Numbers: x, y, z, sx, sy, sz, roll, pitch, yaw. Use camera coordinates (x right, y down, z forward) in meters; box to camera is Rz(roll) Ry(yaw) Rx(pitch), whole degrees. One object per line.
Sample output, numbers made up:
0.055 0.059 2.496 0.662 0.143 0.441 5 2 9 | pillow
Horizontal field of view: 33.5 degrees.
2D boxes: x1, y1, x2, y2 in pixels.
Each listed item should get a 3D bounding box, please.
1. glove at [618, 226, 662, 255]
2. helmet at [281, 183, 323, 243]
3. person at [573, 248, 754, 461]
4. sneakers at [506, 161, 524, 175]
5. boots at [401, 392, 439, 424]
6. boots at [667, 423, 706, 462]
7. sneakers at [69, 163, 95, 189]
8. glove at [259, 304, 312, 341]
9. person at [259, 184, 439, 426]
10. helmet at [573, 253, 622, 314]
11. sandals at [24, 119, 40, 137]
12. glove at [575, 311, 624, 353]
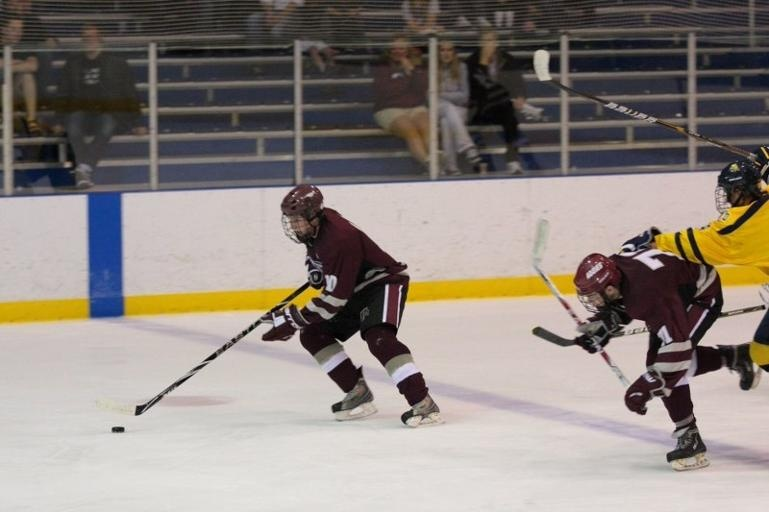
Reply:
1.480 -0.074 7.419 0.221 0.073 0.155 -21 9 17 | glove
-0.485 -0.248 7.613 0.232 0.339 0.117 -2 12 0 | helmet
1.618 0.617 7.509 0.899 1.225 0.800 -34 20 6 | person
1.079 -0.728 10.569 0.117 0.039 0.124 -3 27 -3 | sneakers
0.243 0.937 7.755 0.298 0.204 0.130 -4 8 -10 | boots
1.678 1.053 7.177 0.307 0.200 0.099 -7 -1 -38 | boots
-2.341 -0.618 9.935 0.228 0.295 0.200 -1 6 -7 | sneakers
-0.606 0.420 7.916 0.347 0.217 0.151 -16 17 -3 | glove
-0.216 0.293 7.730 1.049 1.454 0.445 -2 12 0 | person
1.181 0.161 7.258 0.250 0.353 0.290 -4 11 -9 | helmet
-2.708 -0.984 9.829 0.113 0.119 0.045 -19 -4 -6 | sandals
1.250 0.442 7.427 0.311 0.213 0.116 -34 -1 7 | glove
